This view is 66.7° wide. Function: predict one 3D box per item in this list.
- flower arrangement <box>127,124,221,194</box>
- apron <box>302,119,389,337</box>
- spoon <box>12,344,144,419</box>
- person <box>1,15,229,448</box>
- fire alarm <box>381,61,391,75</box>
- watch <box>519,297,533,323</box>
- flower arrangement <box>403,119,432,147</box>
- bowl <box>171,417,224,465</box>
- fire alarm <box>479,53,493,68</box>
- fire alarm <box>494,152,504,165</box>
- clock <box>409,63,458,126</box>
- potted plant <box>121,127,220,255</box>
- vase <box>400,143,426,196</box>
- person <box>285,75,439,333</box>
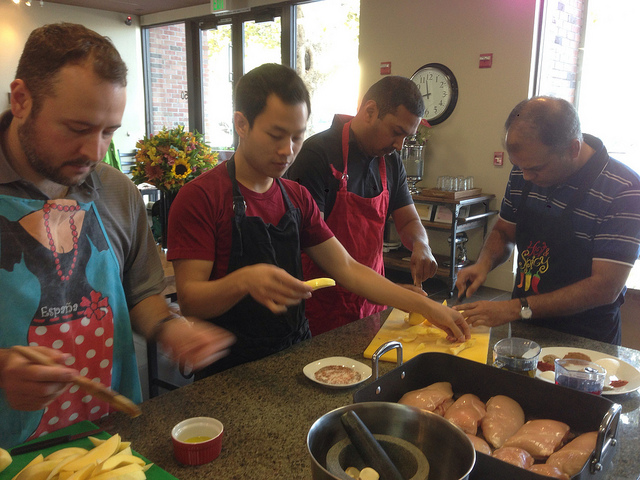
[{"bbox_3d":[-0.968,-0.515,3.340,0.517,0.406,0.564,2,22,6],"label":"flower arrangement"},{"bbox_3d":[0.125,-0.051,2.488,0.328,1.100,0.713,8,16,31],"label":"apron"},{"bbox_3d":[-0.727,0.421,1.439,0.435,0.058,0.064,34,18,2],"label":"spoon"},{"bbox_3d":[-0.706,-0.002,1.467,0.589,1.274,0.679,-10,17,-34],"label":"person"},{"bbox_3d":[0.758,-1.990,5.599,0.156,0.165,0.027,6,6,44],"label":"fire alarm"},{"bbox_3d":[0.889,0.303,2.128,0.058,0.078,0.059,-11,18,-37],"label":"watch"},{"bbox_3d":[1.026,-1.138,5.128,0.272,0.264,0.763,3,14,12],"label":"flower arrangement"},{"bbox_3d":[-0.332,0.547,1.320,0.132,0.090,0.087,-3,14,-10],"label":"bowl"},{"bbox_3d":[1.667,-1.812,4.889,0.028,0.149,0.136,-2,5,-44],"label":"fire alarm"},{"bbox_3d":[1.840,-0.848,5.018,0.023,0.174,0.123,-11,11,-42],"label":"fire alarm"},{"bbox_3d":[1.200,-1.603,5.348,0.617,0.674,0.096,10,17,38],"label":"clock"},{"bbox_3d":[-1.030,-0.328,3.262,0.433,0.525,0.396,-3,6,-25],"label":"potted plant"},{"bbox_3d":[1.000,-0.768,5.423,0.302,0.525,0.311,-10,4,-37],"label":"vase"},{"bbox_3d":[0.222,-0.134,2.658,0.738,1.530,0.754,-8,29,-19],"label":"person"}]
